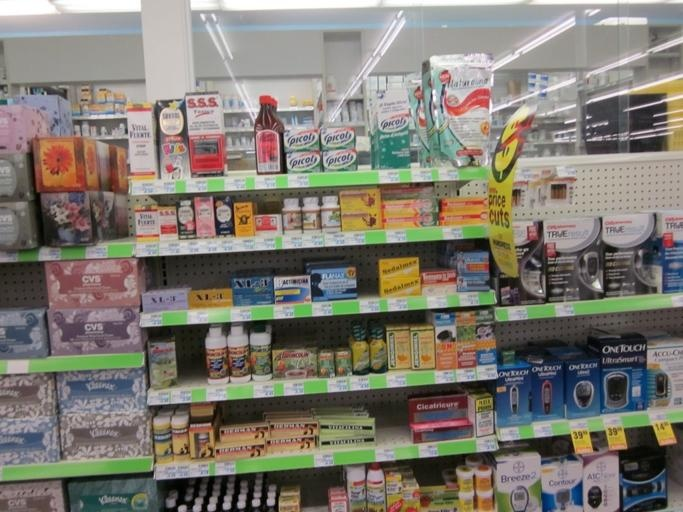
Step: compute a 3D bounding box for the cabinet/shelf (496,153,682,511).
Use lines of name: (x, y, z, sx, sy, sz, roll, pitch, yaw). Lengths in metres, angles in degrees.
cabinet/shelf: (1.627, 0.584, 4.284, 1.248, 2.343, 0.492, -3, 7, 9)

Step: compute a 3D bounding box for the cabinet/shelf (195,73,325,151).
cabinet/shelf: (-0.879, -1.744, 7.958, 1.269, 0.898, 1.248, -5, 8, -2)
